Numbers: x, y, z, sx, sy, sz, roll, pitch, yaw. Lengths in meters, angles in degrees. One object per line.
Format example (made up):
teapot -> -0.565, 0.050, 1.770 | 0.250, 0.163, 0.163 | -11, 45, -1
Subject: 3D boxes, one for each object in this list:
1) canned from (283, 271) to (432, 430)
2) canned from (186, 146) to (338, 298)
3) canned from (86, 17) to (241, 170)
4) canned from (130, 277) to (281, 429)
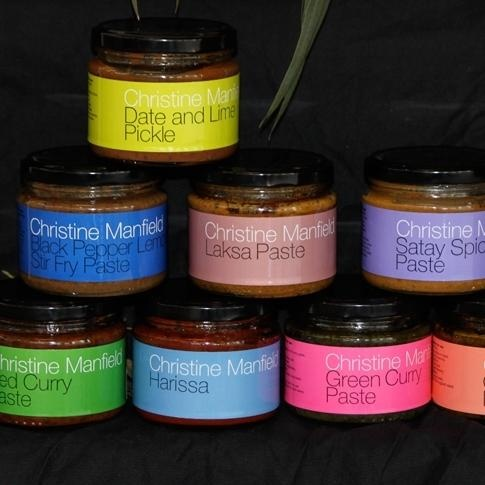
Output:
canned -> 0.162, 0.159, 0.867 | 0.228, 0.143, 0.195 | 0, -1, 3
canned -> 0.033, -0.033, 0.828 | 0.189, 0.190, 0.191 | 5, 15, 26
canned -> -0.108, -0.202, 0.789 | 0.196, 0.130, 0.197 | 22, 30, 38
canned -> -0.047, 0.159, 0.847 | 0.226, 0.142, 0.191 | 0, 0, 0
